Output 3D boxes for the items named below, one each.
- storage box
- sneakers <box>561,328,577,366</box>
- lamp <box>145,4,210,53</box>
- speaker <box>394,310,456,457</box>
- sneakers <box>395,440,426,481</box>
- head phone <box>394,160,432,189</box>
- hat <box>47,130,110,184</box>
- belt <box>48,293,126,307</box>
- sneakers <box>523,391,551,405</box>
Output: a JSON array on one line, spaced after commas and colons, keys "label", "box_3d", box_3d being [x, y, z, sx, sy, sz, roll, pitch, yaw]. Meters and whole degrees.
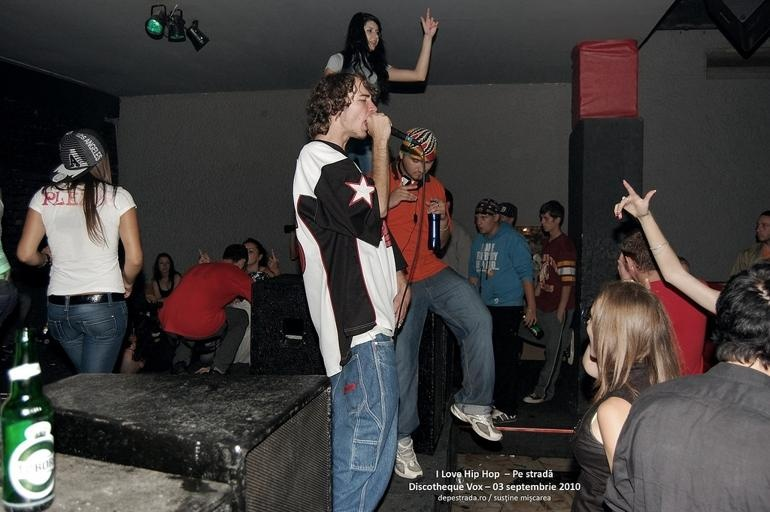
[{"label": "storage box", "box_3d": [1.946, -1.530, 5.079, 0.609, 0.788, 0.773, 0, 3, 17]}, {"label": "sneakers", "box_3d": [1.690, 0.875, 5.119, 0.159, 0.393, 0.128, 2, 38, 10]}, {"label": "lamp", "box_3d": [-1.905, -2.062, 5.001, 0.387, 0.242, 0.612, 2, 3, 25]}, {"label": "speaker", "box_3d": [0.236, 0.789, 3.369, 0.189, 0.729, 1.214, 0, 0, 14]}, {"label": "sneakers", "box_3d": [0.137, 1.193, 3.192, 0.102, 0.142, 0.301, 1, -11, -9]}, {"label": "head phone", "box_3d": [0.159, -0.462, 3.190, 0.180, 0.101, 0.229, 7, 7, -11]}, {"label": "hat", "box_3d": [-1.747, -0.563, 3.130, 0.291, 0.315, 0.135, 0, 3, -23]}, {"label": "belt", "box_3d": [-1.695, 0.247, 3.112, 0.383, 0.069, 0.101, 0, 3, -19]}, {"label": "sneakers", "box_3d": [1.350, 1.272, 4.918, 0.205, 0.085, 0.092, 1, 0, 17]}]
